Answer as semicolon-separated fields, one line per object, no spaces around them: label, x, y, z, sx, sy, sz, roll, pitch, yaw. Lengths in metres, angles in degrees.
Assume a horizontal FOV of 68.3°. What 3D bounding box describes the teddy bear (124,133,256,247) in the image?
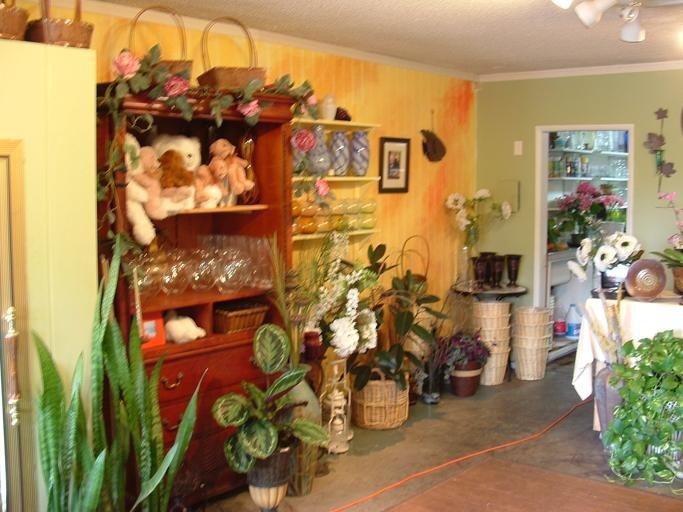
teddy bear;-0.954;-0.402;3.023;0.282;0.638;0.848;4;7;40

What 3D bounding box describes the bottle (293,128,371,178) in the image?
bottle;-0.095;-0.832;4.078;0.120;0.276;0.533;2;6;37

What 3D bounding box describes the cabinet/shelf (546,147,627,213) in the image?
cabinet/shelf;3.553;-1.024;7.140;1.529;0.739;0.198;-2;0;-20

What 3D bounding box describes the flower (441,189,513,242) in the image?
flower;1.528;-0.422;5.757;0.928;0.634;0.464;-3;6;-30

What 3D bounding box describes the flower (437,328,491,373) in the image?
flower;1.220;0.941;5.036;0.371;0.274;0.385;-2;0;-17

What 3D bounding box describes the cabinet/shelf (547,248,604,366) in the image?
cabinet/shelf;2.445;0.548;5.352;0.462;1.224;1.330;0;3;33

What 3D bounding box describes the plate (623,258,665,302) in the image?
plate;2.260;0.184;3.764;0.284;0.303;0.135;-1;5;-8

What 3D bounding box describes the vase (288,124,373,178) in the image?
vase;-0.105;-0.841;4.044;0.181;0.301;0.611;4;6;38

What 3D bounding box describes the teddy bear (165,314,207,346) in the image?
teddy bear;-0.949;0.434;3.050;0.146;0.152;0.216;4;7;38

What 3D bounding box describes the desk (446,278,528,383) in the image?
desk;1.571;0.832;5.852;1.013;1.116;1.043;-1;1;-16

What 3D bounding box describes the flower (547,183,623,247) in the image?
flower;3.140;-0.558;6.588;1.019;0.893;0.908;0;6;34

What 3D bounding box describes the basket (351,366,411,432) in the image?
basket;0.335;1.192;4.279;0.485;0.455;0.489;-2;-2;39

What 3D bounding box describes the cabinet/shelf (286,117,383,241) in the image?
cabinet/shelf;-0.077;-0.629;4.120;0.981;0.849;0.293;-8;5;-42

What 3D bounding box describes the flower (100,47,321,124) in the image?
flower;-0.732;-0.937;2.913;1.211;0.368;0.172;-5;7;-41

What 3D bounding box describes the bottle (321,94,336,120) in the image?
bottle;-0.102;-1.196;4.130;0.087;0.207;0.181;2;6;24

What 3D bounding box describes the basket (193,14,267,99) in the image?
basket;-0.686;-1.240;3.125;0.366;0.482;0.272;-11;9;-37

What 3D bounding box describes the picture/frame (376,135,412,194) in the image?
picture/frame;0.492;-0.892;4.908;0.031;0.678;0.582;7;9;39

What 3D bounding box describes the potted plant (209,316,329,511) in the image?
potted plant;-0.363;0.990;2.930;0.602;1.206;0.659;0;5;7

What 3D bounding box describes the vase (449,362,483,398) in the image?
vase;1.230;1.250;5.136;0.379;0.318;0.375;-2;-10;9

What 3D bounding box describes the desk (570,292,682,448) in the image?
desk;2.173;0.773;4.102;0.895;1.165;0.962;4;8;44
